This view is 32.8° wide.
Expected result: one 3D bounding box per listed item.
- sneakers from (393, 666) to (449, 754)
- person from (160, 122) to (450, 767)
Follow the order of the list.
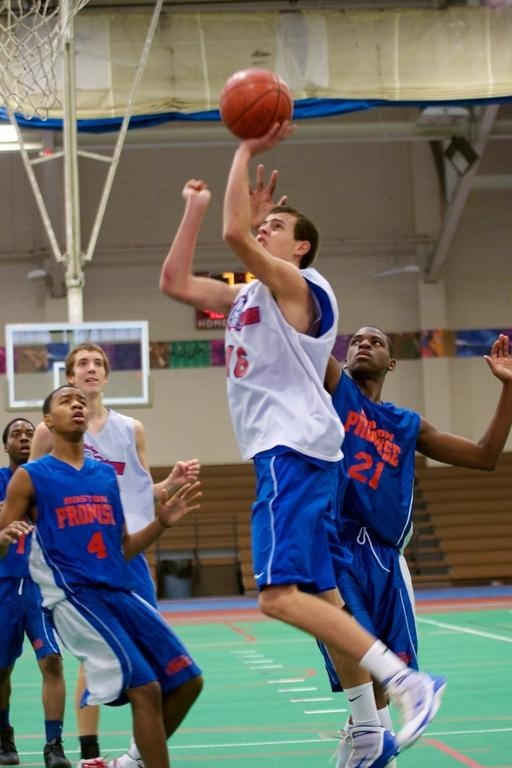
[{"bbox_3d":[0.412,0.826,2.182,0.150,0.185,0.141,-1,0,-16],"label":"sneakers"},{"bbox_3d":[0.088,0.180,2.475,0.565,1.934,0.922,-1,1,-21],"label":"person"}]
